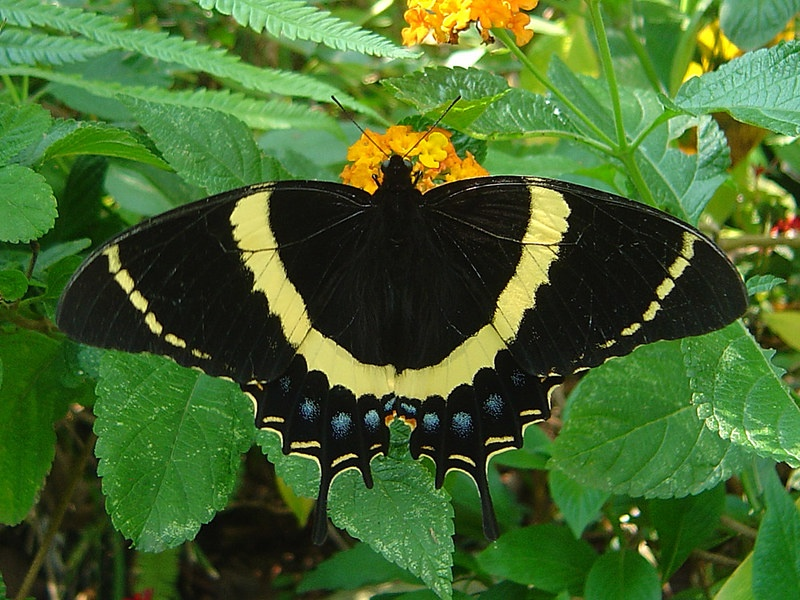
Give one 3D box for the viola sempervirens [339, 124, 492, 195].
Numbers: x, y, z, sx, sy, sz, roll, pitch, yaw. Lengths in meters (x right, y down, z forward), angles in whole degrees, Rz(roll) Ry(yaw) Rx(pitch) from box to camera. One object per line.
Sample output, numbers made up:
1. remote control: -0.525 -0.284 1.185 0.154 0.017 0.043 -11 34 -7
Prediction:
1. viola sempervirens: 0.015 -0.316 1.974 0.239 0.379 0.184 2 -74 -27
